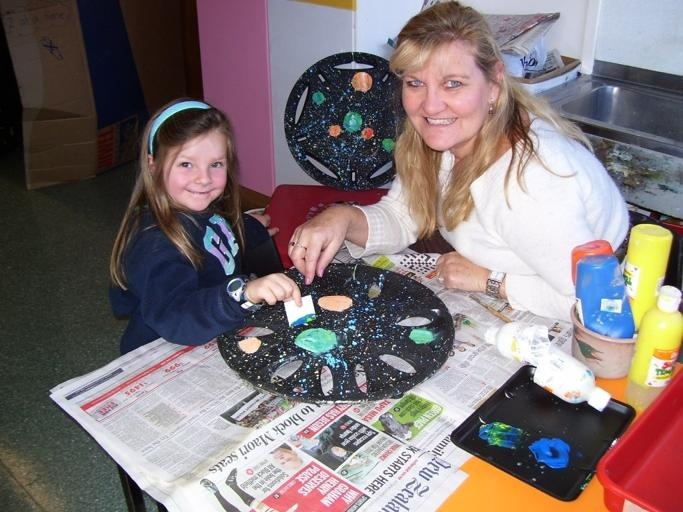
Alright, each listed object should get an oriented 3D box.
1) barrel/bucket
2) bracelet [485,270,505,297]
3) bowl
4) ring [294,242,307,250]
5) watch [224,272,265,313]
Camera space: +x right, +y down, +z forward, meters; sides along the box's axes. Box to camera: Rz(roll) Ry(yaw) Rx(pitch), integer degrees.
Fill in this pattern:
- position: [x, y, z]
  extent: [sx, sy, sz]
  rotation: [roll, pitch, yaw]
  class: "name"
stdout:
- position: [0.531, 0.188, 1.087]
  extent: [0.123, 0.098, 0.131]
  rotation: [-10, 32, 6]
  class: "barrel/bucket"
- position: [0.403, 0.074, 1.367]
  extent: [0.044, 0.064, 0.070]
  rotation: [2, 71, 31]
  class: "bracelet"
- position: [0.543, 0.196, 1.122]
  extent: [0.125, 0.097, 0.131]
  rotation: [-10, 32, 6]
  class: "bowl"
- position: [-0.116, -0.029, 1.449]
  extent: [0.020, 0.007, 0.021]
  rotation: [20, 10, -4]
  class: "ring"
- position: [-0.228, 0.080, 1.214]
  extent: [0.083, 0.043, 0.069]
  rotation: [38, 61, 5]
  class: "watch"
